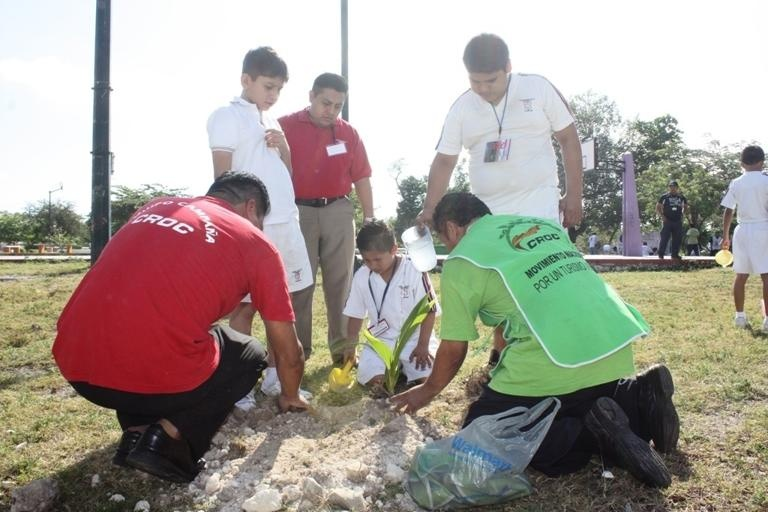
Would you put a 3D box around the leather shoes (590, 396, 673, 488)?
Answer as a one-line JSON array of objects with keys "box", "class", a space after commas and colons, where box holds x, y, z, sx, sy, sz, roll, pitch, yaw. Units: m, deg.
[{"box": [1.544, 1.160, 3.774, 0.221, 0.240, 0.624, -28, 59, -26], "class": "leather shoes"}]

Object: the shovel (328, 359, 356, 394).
[{"box": [-0.345, 0.906, 4.817, 0.153, 0.269, 0.240, 35, 13, 12], "class": "shovel"}]

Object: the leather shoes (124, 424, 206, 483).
[{"box": [-1.412, 1.154, 3.859, 0.221, 0.241, 0.488, 28, -10, 4], "class": "leather shoes"}]

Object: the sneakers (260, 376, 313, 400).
[{"box": [-0.793, 1.033, 4.727, 0.442, 0.215, 0.159, -3, 3, 13], "class": "sneakers"}]

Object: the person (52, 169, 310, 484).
[{"box": [-1.274, 0.451, 3.794, 1.449, 1.957, 0.447, -3, 5, -17], "class": "person"}]
